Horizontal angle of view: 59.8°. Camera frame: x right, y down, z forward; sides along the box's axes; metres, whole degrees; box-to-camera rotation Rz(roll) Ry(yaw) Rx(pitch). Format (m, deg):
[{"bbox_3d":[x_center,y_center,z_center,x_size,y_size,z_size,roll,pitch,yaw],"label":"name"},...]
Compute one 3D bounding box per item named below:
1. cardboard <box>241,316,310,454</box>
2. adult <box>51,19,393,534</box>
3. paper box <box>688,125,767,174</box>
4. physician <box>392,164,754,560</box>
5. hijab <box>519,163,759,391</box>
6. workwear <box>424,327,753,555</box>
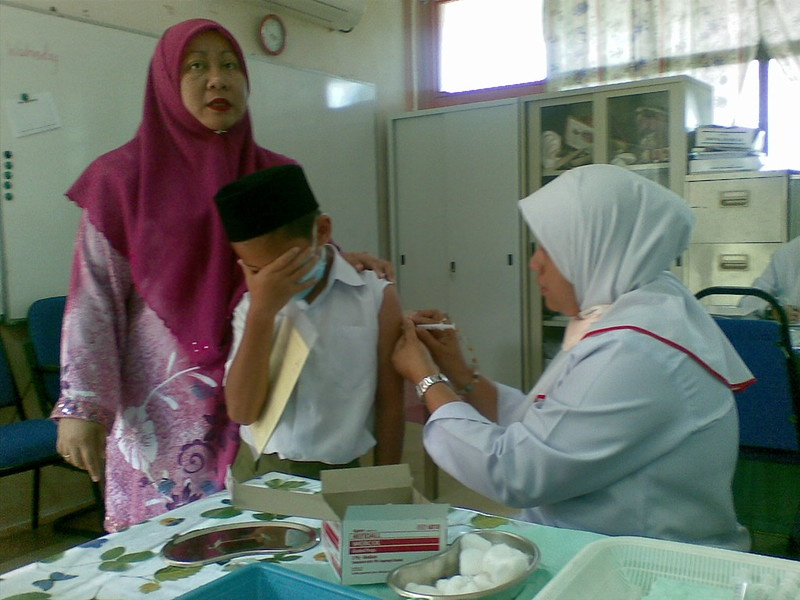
[{"bbox_3d":[-0.255,0.171,1.426,0.020,0.251,0.231,16,32,-28],"label":"cardboard"},{"bbox_3d":[-0.471,0.044,1.873,0.914,1.439,0.483,-5,24,-26],"label":"adult"},{"bbox_3d":[1.682,-0.745,3.619,0.312,0.193,0.309,4,7,30],"label":"paper box"},{"bbox_3d":[0.436,0.264,1.696,0.858,1.111,0.660,-3,16,5],"label":"physician"},{"bbox_3d":[0.514,-0.091,1.602,0.517,0.428,0.580,1,7,22],"label":"hijab"},{"bbox_3d":[0.433,0.258,1.541,0.565,0.430,0.470,-4,0,22],"label":"workwear"}]
